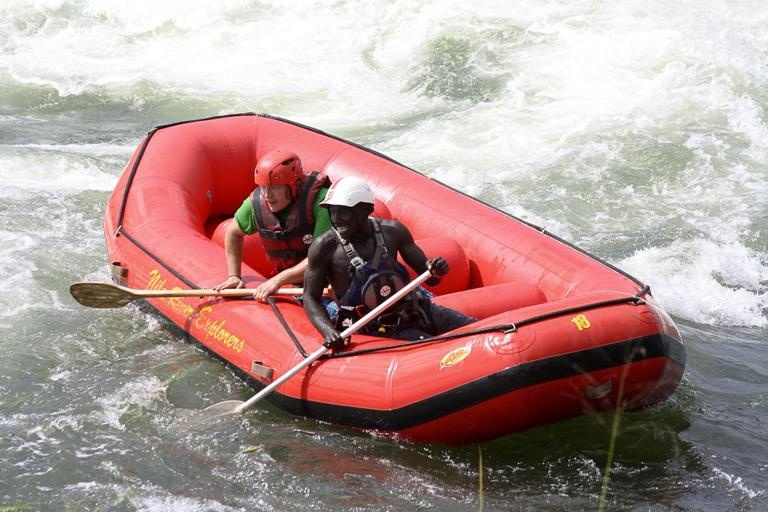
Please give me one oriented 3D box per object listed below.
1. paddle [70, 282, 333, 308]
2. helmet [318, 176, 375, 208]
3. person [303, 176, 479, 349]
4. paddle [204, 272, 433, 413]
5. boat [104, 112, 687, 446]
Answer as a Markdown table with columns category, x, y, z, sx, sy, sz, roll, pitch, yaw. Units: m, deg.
| category | x | y | z | sx | sy | sz | roll | pitch | yaw |
| --- | --- | --- | --- | --- | --- | --- | --- | --- | --- |
| paddle | -1.557 | 0.343 | 7.374 | 2.225 | 0.186 | 0.092 | 3 | 27 | 13 |
| helmet | -0.294 | -0.514 | 6.690 | 0.442 | 0.143 | 0.273 | 5 | -9 | -28 |
| person | -0.068 | 0.054 | 6.769 | 1.261 | 1.396 | 0.682 | -4 | 29 | -4 |
| paddle | -0.494 | 0.757 | 6.899 | 2.153 | 0.377 | 0.127 | -22 | 32 | 11 |
| boat | -0.542 | 0.379 | 7.439 | 5.500 | 0.922 | 2.842 | 17 | 32 | 29 |
